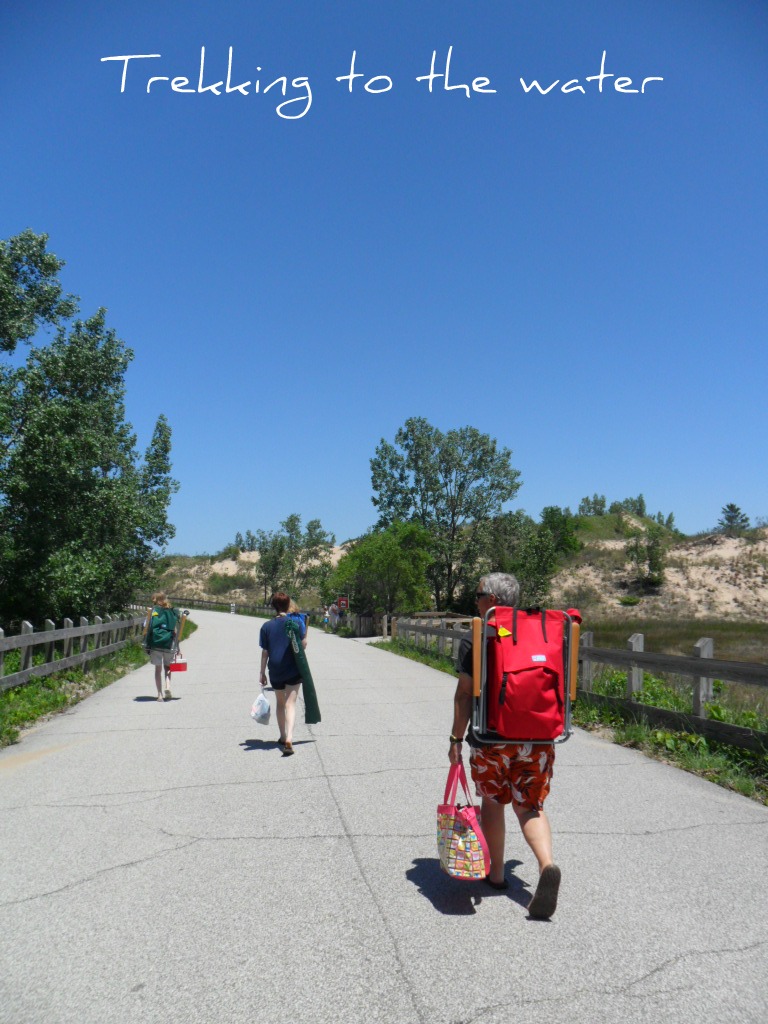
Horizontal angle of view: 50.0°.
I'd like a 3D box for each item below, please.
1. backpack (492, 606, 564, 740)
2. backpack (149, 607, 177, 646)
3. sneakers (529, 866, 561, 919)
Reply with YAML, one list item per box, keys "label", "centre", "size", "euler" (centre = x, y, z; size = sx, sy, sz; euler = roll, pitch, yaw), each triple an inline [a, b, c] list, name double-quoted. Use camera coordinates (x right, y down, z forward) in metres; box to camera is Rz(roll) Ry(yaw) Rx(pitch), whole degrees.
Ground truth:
- label: "backpack"
  centre: [0.746, 0.795, 4.110]
  size: [0.453, 0.650, 0.186]
  euler: [2, -6, -26]
- label: "backpack"
  centre: [-3.863, 1.991, 14.506]
  size: [0.479, 0.646, 0.272]
  euler: [7, -2, -4]
- label: "sneakers"
  centre: [0.770, 1.792, 3.884]
  size: [0.121, 0.341, 0.142]
  euler: [5, 11, 1]
